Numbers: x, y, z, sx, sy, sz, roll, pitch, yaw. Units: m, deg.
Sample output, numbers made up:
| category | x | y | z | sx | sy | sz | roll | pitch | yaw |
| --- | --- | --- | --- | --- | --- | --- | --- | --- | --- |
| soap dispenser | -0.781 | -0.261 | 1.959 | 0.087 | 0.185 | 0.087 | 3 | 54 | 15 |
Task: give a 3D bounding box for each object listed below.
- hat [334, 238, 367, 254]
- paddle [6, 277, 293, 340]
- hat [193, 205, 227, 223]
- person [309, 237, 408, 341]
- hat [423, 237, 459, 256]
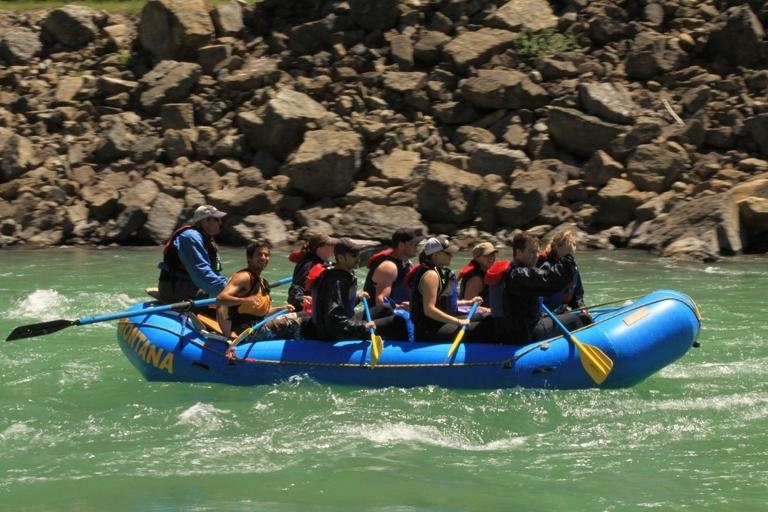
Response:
| category | x | y | z | sx | sy | sz | roll | pitch | yaw |
| --- | --- | --- | --- | --- | --- | --- | --- | --- | --- |
| hat | -0.636 | -0.163 | 16.203 | 0.488 | 0.254 | 0.233 | 0 | 0 | 6 |
| paddle | -4.456 | 1.024 | 18.231 | 7.048 | 0.350 | 0.540 | -5 | 40 | -4 |
| hat | -3.212 | -0.746 | 17.444 | 0.768 | 0.211 | 0.368 | -6 | 7 | -1 |
| person | -0.548 | 0.585 | 16.461 | 1.417 | 1.716 | 0.712 | -1 | 1 | -10 |
| hat | 0.900 | -0.170 | 16.240 | 0.584 | 0.314 | 0.242 | 0 | 0 | 1 |
